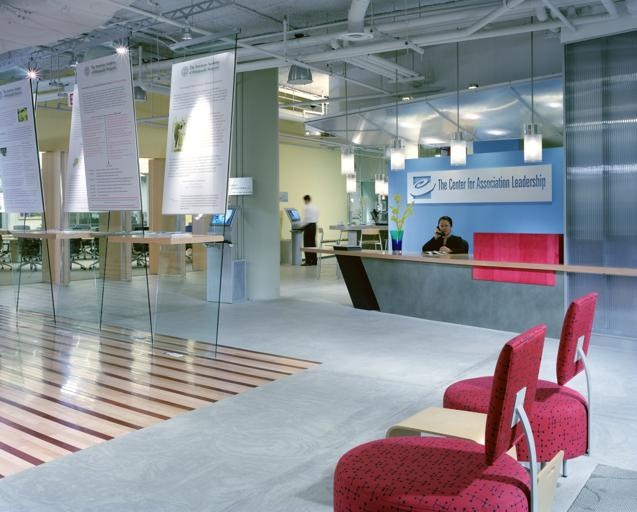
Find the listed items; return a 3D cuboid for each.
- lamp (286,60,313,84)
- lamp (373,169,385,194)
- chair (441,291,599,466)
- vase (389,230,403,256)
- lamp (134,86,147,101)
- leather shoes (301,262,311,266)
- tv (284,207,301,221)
[{"bbox_3d":[-0.333,-3.222,7.804,0.405,0.302,1.035,-1,4,-3],"label":"lamp"},{"bbox_3d":[1.693,-1.939,12.132,0.272,0.551,0.662,0,4,5],"label":"lamp"},{"bbox_3d":[1.188,0.717,2.736,0.855,0.928,0.834,-3,-5,39],"label":"chair"},{"bbox_3d":[1.240,-0.230,7.082,0.146,0.351,0.351,0,4,4],"label":"vase"},{"bbox_3d":[-2.774,-2.495,6.921,0.155,0.175,0.421,-2,4,-22],"label":"lamp"},{"bbox_3d":[-0.458,0.281,14.793,0.305,0.120,0.105,-4,0,34],"label":"leather shoes"},{"bbox_3d":[-0.896,-1.454,15.864,0.602,0.490,0.634,10,5,15],"label":"tv"}]
